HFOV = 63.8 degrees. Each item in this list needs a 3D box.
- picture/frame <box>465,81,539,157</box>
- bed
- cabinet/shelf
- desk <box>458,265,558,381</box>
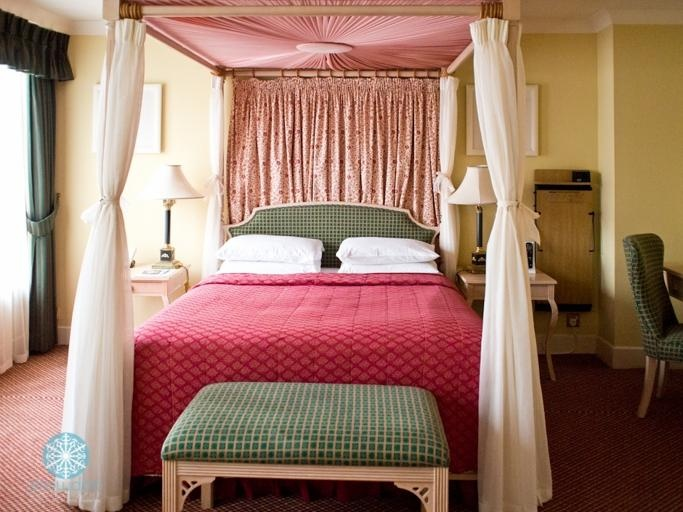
[{"bbox_3d":[1.584,-1.328,5.399,0.731,0.696,0.133,2,13,8],"label":"picture/frame"},{"bbox_3d":[-0.145,0.425,4.622,2.385,1.487,3.078,1,7,5],"label":"bed"},{"bbox_3d":[2.168,-0.073,5.374,0.583,1.156,0.234,5,14,18],"label":"cabinet/shelf"},{"bbox_3d":[1.486,0.592,5.149,0.978,0.890,0.927,0,0,2],"label":"desk"}]
